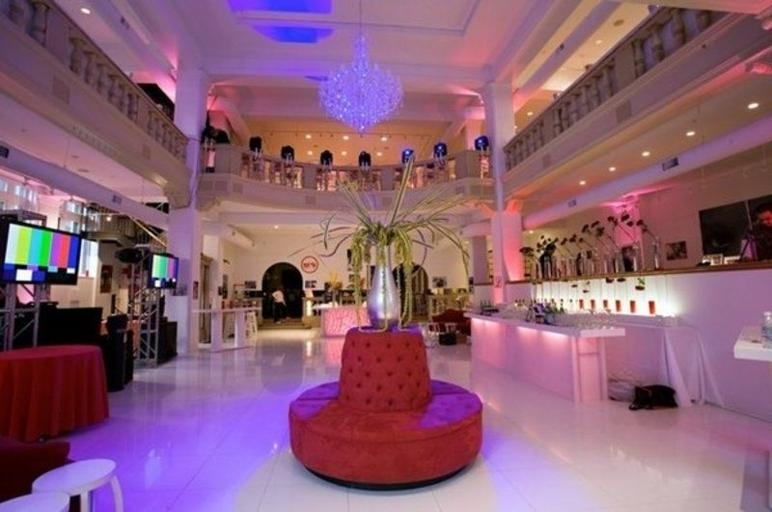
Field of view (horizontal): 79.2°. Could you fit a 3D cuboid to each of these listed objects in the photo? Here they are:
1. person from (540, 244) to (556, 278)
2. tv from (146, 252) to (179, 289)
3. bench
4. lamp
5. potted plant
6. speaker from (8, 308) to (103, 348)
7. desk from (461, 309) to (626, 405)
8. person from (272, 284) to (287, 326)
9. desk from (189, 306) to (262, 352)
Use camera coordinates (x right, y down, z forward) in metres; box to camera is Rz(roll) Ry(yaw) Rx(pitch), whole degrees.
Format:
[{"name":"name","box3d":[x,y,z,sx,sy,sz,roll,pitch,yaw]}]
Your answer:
[{"name":"person","box3d":[3.874,0.169,10.936,0.322,1.063,0.252,4,37,30]},{"name":"tv","box3d":[-4.894,0.316,10.478,0.880,0.791,0.337,4,1,17]},{"name":"bench","box3d":[0.042,1.644,5.628,1.890,1.196,1.906,-1,-3,-6]},{"name":"lamp","box3d":[-0.574,-4.294,10.491,1.850,2.863,2.234,-3,14,-6]},{"name":"potted plant","box3d":[-0.005,-0.028,6.056,2.131,1.798,1.987,1,-6,-6]},{"name":"speaker","box3d":[-5.550,1.263,7.972,1.379,0.745,0.935,0,5,-7]},{"name":"desk","box3d":[2.865,1.616,9.085,0.869,1.195,3.772,2,2,-13]},{"name":"person","box3d":[-4.365,2.055,19.187,0.558,1.621,1.550,-4,14,-12]},{"name":"desk","box3d":[-4.247,1.873,12.374,1.059,1.010,1.997,9,-5,9]}]
